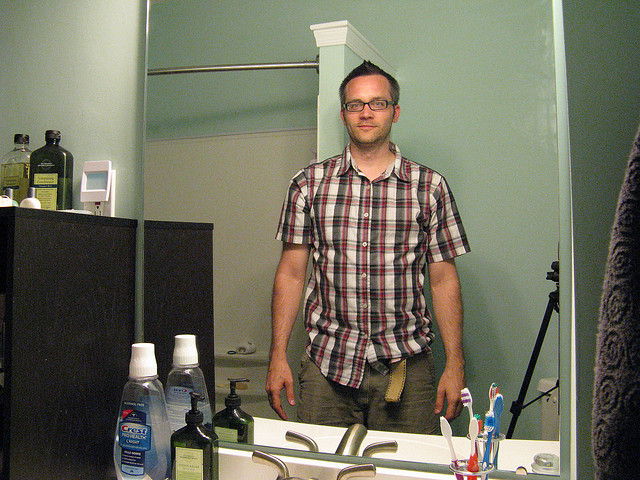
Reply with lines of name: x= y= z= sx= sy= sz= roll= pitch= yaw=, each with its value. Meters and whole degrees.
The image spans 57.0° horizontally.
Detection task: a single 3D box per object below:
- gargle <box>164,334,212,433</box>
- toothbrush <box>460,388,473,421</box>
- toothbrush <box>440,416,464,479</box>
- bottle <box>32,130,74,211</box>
gargle: x=-0.344 y=0.365 z=1.492 sx=0.084 sy=0.300 sz=0.117 roll=-1 pitch=-4 yaw=12
toothbrush: x=0.336 y=0.375 z=1.354 sx=0.021 sy=0.090 sz=0.008 roll=1 pitch=32 yaw=31
toothbrush: x=0.296 y=0.465 z=1.331 sx=0.051 sy=0.162 sz=0.138 roll=3 pitch=2 yaw=11
bottle: x=-0.729 y=-0.166 z=1.600 sx=0.097 sy=0.166 sz=0.055 roll=1 pitch=2 yaw=-28
